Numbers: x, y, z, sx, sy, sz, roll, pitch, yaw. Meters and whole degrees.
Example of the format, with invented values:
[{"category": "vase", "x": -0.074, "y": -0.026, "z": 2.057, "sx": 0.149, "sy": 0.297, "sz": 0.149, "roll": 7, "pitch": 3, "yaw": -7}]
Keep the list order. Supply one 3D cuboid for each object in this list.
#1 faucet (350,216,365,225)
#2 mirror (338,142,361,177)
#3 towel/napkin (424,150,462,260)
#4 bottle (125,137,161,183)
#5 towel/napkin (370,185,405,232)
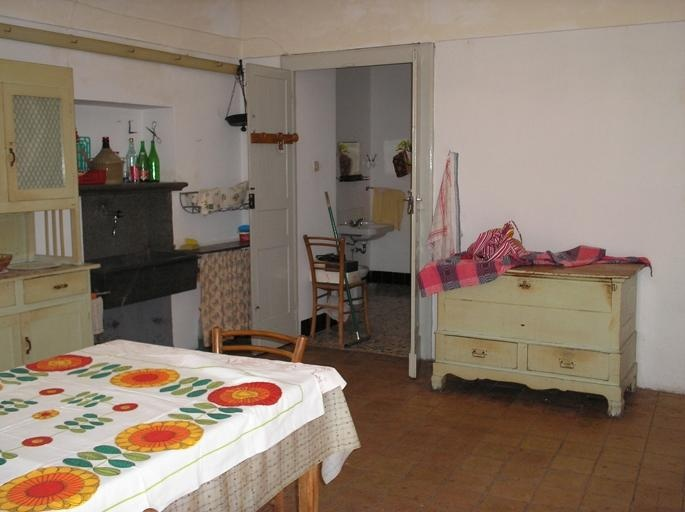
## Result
[{"category": "faucet", "x": 0.194, "y": -0.520, "z": 7.515, "sx": 0.172, "sy": 0.047, "sz": 0.161, "roll": -1, "pitch": 17, "yaw": 39}, {"category": "mirror", "x": 0.077, "y": -1.421, "z": 7.907, "sx": 0.164, "sy": 0.462, "sz": 0.531, "roll": 5, "pitch": 11, "yaw": 28}, {"category": "towel/napkin", "x": 0.862, "y": -0.413, "z": 4.786, "sx": 0.281, "sy": 1.144, "sz": 0.204, "roll": 5, "pitch": 39, "yaw": 9}, {"category": "bottle", "x": -1.858, "y": -0.910, "z": 5.093, "sx": 0.298, "sy": 0.413, "sz": 0.351, "roll": 2, "pitch": 10, "yaw": 15}, {"category": "towel/napkin", "x": 0.688, "y": -0.731, "z": 8.139, "sx": 0.648, "sy": 0.740, "sz": 0.095, "roll": 11, "pitch": 26, "yaw": 19}]
